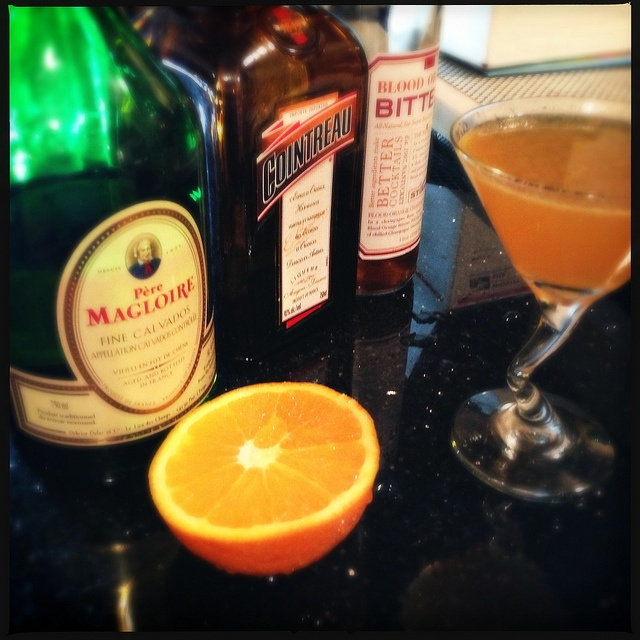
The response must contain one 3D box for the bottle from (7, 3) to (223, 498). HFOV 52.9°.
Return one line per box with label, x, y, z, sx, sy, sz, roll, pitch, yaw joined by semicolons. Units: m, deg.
bottle;-0.158;-0.054;0.484;0.138;0.319;0.170;3;35;6
